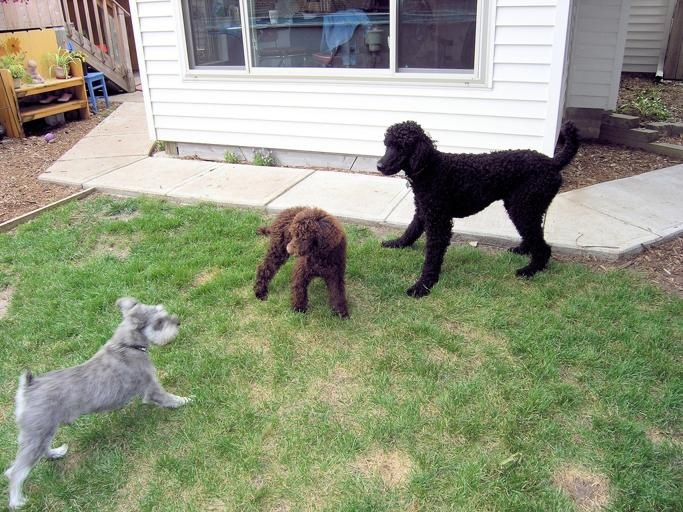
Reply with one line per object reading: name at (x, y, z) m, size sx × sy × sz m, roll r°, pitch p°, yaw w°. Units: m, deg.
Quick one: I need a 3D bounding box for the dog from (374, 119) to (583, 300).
dog at (1.171, -0.501, 4.718) m, size 1.749 × 1.346 × 0.696 m, roll -3°, pitch 16°, yaw 0°

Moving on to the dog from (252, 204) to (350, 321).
dog at (-0.297, 0.020, 4.226) m, size 0.844 × 0.799 × 0.508 m, roll 23°, pitch 34°, yaw 39°

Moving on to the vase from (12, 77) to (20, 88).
vase at (-5.322, -2.836, 8.589) m, size 0.078 × 0.141 × 0.232 m, roll -10°, pitch 27°, yaw -20°

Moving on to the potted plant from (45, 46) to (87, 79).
potted plant at (-5.061, -3.552, 9.679) m, size 0.589 × 0.396 × 0.590 m, roll 24°, pitch 33°, yaw 28°

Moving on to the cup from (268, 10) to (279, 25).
cup at (-0.870, -3.052, 6.708) m, size 0.137 × 0.242 × 0.133 m, roll -1°, pitch 8°, yaw 0°

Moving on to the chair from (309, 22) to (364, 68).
chair at (-0.052, -2.613, 6.554) m, size 0.580 × 0.552 × 0.365 m, roll 7°, pitch 30°, yaw 10°
